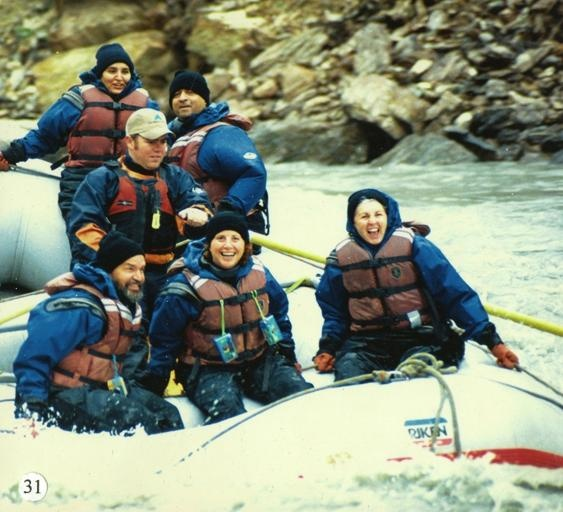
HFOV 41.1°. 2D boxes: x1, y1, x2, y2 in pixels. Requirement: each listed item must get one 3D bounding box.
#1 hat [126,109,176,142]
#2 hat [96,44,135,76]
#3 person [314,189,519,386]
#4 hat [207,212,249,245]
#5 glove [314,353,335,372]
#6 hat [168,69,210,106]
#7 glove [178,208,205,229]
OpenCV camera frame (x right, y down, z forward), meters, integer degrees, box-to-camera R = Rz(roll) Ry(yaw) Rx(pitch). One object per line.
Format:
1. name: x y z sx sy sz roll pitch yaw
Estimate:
1. hat: -0.602 -0.596 3.433 0.150 0.084 0.207 -1 1 -39
2. hat: -0.887 -1.045 3.974 0.251 0.165 0.154 -2 16 -7
3. person: 0.515 0.173 3.210 0.907 0.759 0.696 -7 12 12
4. hat: -0.221 -0.132 3.069 0.177 0.097 0.144 -4 -22 -11
5. glove: 0.187 0.457 3.252 0.088 0.067 0.132 -1 17 -10
6. hat: -0.507 -0.938 4.075 0.234 0.135 0.192 1 -29 -3
7. glove: -0.397 -0.178 3.413 0.124 0.070 0.034 10 -41 -20
